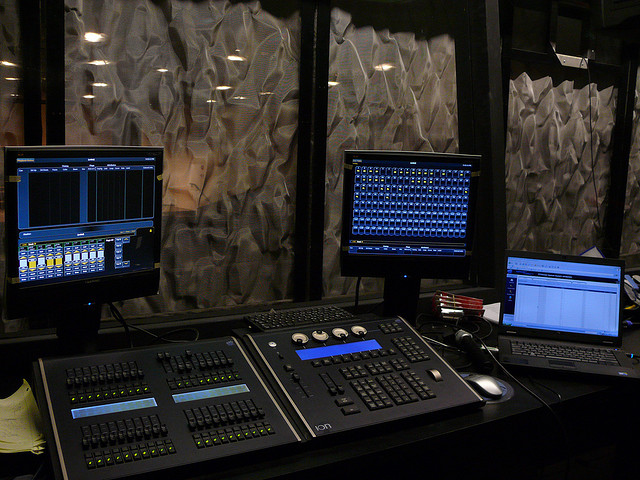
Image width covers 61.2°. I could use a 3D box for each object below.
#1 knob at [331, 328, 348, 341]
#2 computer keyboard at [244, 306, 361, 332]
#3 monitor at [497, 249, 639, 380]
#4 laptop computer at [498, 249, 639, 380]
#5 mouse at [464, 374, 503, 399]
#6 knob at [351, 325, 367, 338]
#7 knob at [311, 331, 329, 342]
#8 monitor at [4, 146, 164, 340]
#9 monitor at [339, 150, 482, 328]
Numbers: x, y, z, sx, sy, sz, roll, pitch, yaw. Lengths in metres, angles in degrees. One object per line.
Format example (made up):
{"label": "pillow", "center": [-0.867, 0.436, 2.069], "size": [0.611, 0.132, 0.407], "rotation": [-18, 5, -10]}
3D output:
{"label": "knob", "center": [0.063, 0.322, 1.833], "size": [0.037, 0.014, 0.037], "rotation": [-7, 25, -30]}
{"label": "computer keyboard", "center": [-0.067, 0.283, 1.950], "size": [0.394, 0.043, 0.204], "rotation": [-7, 7, -18]}
{"label": "monitor", "center": [0.926, 0.266, 2.124], "size": [0.506, 0.374, 0.441], "rotation": [4, 17, 6]}
{"label": "laptop computer", "center": [0.925, 0.264, 2.116], "size": [0.505, 0.372, 0.441], "rotation": [4, 16, 6]}
{"label": "mouse", "center": [0.544, 0.492, 1.804], "size": [0.120, 0.055, 0.097], "rotation": [-3, 7, 13]}
{"label": "knob", "center": [0.132, 0.315, 1.855], "size": [0.036, 0.013, 0.035], "rotation": [14, 17, 36]}
{"label": "knob", "center": [-0.001, 0.327, 1.812], "size": [0.048, 0.029, 0.044], "rotation": [0, 9, 35]}
{"label": "monitor", "center": [-0.754, 0.011, 1.770], "size": [0.515, 0.632, 0.077], "rotation": [-10, 9, -35]}
{"label": "monitor", "center": [0.353, 0.019, 2.253], "size": [0.547, 0.800, 0.228], "rotation": [1, 24, 3]}
